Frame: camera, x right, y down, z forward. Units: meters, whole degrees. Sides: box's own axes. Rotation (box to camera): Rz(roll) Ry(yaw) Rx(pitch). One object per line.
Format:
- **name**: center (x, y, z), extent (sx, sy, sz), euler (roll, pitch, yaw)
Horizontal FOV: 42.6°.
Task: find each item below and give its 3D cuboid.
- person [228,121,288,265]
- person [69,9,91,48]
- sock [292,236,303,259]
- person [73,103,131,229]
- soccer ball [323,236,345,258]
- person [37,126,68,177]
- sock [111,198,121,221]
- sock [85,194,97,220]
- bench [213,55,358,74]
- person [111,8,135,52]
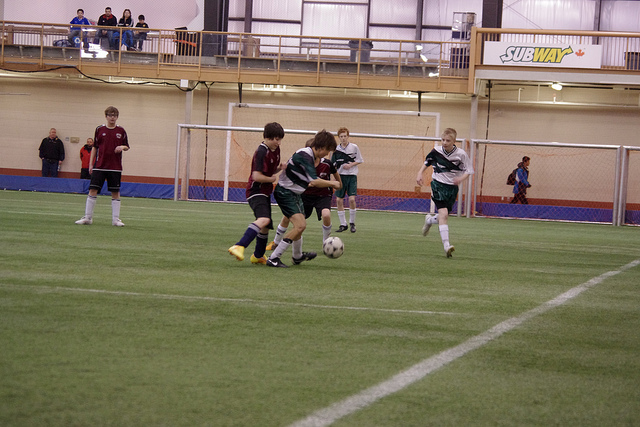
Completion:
- **person**: center (-1.015, -0.314, 13.785), extent (0.561, 2.362, 1.036), euler (7, 8, 31)
- **person**: center (-7.993, -6.112, 27.420), extent (0.651, 1.340, 2.010), euler (1, 7, -16)
- **sock**: center (-0.388, 0.615, 13.974), extent (0.170, 0.355, 0.153), euler (3, 7, -2)
- **person**: center (-4.474, -0.955, 16.804), extent (1.015, 2.508, 0.716), euler (2, -9, -7)
- **soccer ball**: center (0.192, 0.600, 14.258), extent (0.341, 0.334, 0.335), euler (9, -5, 1)
- **person**: center (-9.240, -2.100, 28.275), extent (0.889, 1.692, 0.785), euler (2, 7, -10)
- **sock**: center (-4.182, -0.065, 16.813), extent (0.131, 0.451, 0.272), euler (1, 7, -18)
- **sock**: center (-4.708, -0.111, 16.823), extent (0.190, 0.492, 0.577), euler (1, 7, -15)
- **bench**: center (-1.150, -4.736, 26.458), extent (4.606, 0.476, 0.424), euler (4, 7, 8)
- **person**: center (-6.491, -5.982, 27.095), extent (0.717, 1.418, 1.491), euler (2, 7, -12)
